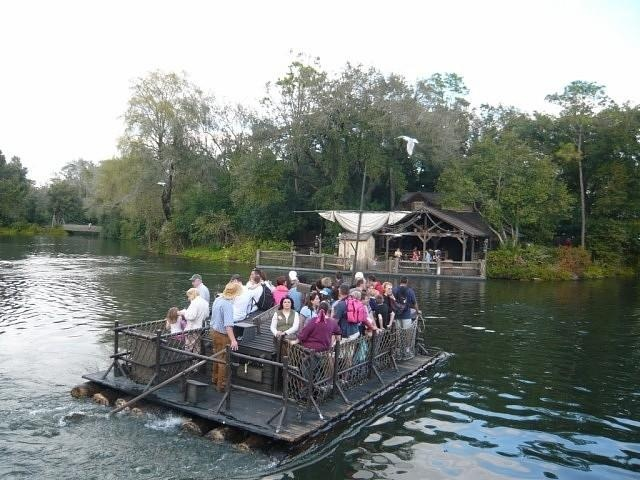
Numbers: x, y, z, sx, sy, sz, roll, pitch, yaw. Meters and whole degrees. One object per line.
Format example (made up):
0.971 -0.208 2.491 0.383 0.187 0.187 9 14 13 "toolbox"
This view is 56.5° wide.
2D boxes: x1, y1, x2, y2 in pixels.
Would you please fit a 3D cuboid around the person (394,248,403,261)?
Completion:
6.162 1.090 46.707 0.793 1.000 2.150 -2 -1 8 "person"

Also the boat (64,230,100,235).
-39.833 -1.339 99.473 4.695 0.663 1.074 2 -1 18 "boat"

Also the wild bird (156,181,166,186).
-16.270 -5.873 60.692 0.660 0.394 0.913 -7 18 -34 "wild bird"
